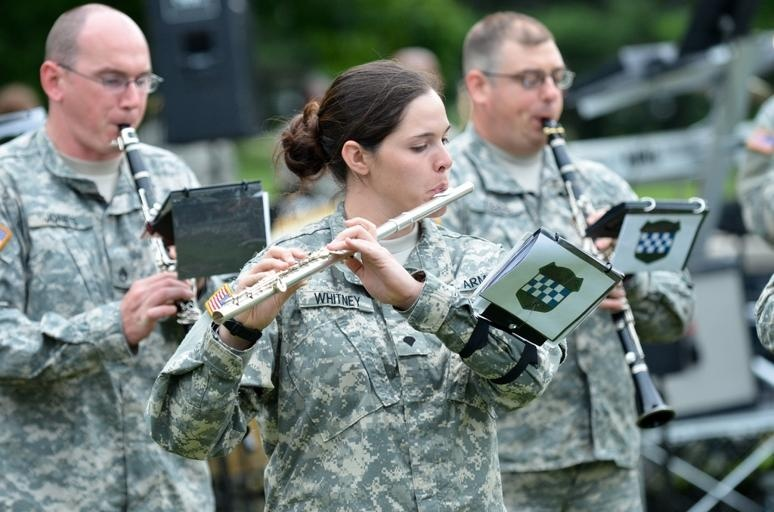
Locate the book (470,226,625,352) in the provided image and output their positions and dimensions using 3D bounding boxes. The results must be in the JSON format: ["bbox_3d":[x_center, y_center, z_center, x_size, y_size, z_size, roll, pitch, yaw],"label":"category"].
[{"bbox_3d":[0.804,0.163,6.269,0.607,0.603,0.214,38,15,-15],"label":"book"}]

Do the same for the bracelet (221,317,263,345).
[{"bbox_3d":[-0.718,0.385,6.279,0.193,0.132,0.032,0,12,-8],"label":"bracelet"}]

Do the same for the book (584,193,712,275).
[{"bbox_3d":[1.592,-0.093,7.674,0.601,0.519,0.619,-2,-2,-3],"label":"book"}]
